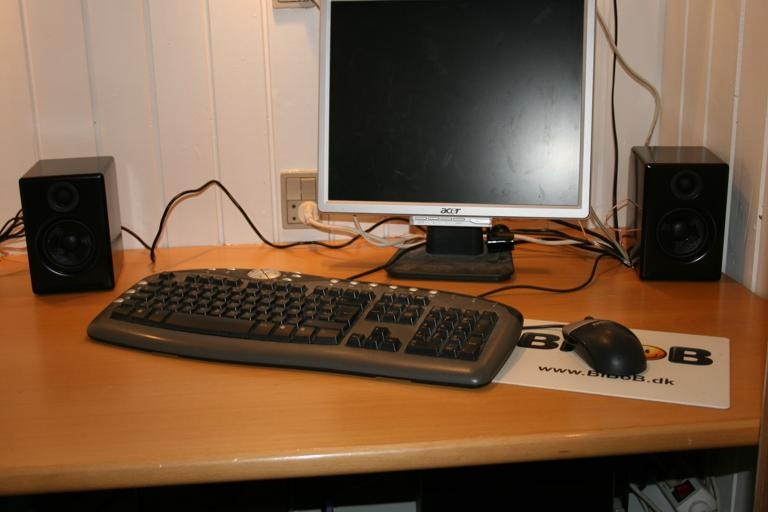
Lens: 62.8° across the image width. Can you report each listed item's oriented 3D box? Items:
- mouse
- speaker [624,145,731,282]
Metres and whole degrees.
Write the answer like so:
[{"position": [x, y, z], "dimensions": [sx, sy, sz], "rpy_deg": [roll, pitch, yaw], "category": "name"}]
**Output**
[{"position": [0.382, 0.140, 1.090], "dimensions": [0.113, 0.061, 0.179], "rpy_deg": [-11, 15, -9], "category": "mouse"}, {"position": [0.536, -0.081, 1.320], "dimensions": [0.170, 0.283, 0.302], "rpy_deg": [0, 8, 10], "category": "speaker"}]
